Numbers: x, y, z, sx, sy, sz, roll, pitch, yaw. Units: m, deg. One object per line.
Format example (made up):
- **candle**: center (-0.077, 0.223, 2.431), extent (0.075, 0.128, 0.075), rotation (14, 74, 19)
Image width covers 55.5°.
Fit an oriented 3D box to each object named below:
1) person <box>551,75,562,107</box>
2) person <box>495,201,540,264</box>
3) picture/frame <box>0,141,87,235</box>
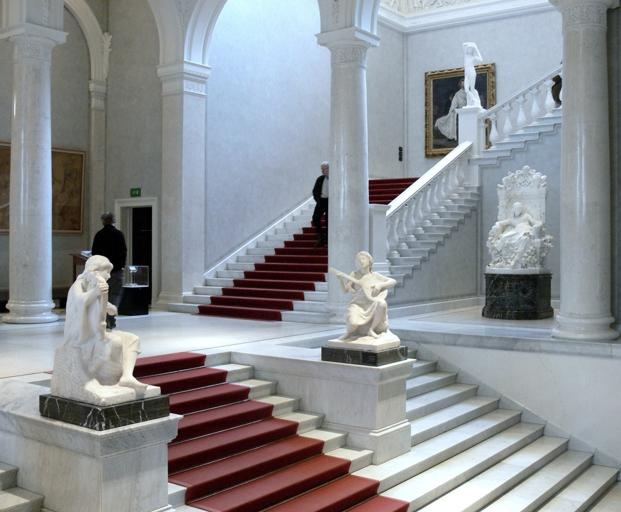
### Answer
- **person**: center (5.098, -3.395, 12.295), extent (0.153, 0.697, 1.109), rotation (0, 0, 22)
- **person**: center (3.497, -0.340, 10.004), extent (0.777, 1.226, 0.607), rotation (-3, -13, 32)
- **picture/frame**: center (-4.881, -1.255, 10.720), extent (0.076, 1.555, 2.065), rotation (-2, -2, 35)
